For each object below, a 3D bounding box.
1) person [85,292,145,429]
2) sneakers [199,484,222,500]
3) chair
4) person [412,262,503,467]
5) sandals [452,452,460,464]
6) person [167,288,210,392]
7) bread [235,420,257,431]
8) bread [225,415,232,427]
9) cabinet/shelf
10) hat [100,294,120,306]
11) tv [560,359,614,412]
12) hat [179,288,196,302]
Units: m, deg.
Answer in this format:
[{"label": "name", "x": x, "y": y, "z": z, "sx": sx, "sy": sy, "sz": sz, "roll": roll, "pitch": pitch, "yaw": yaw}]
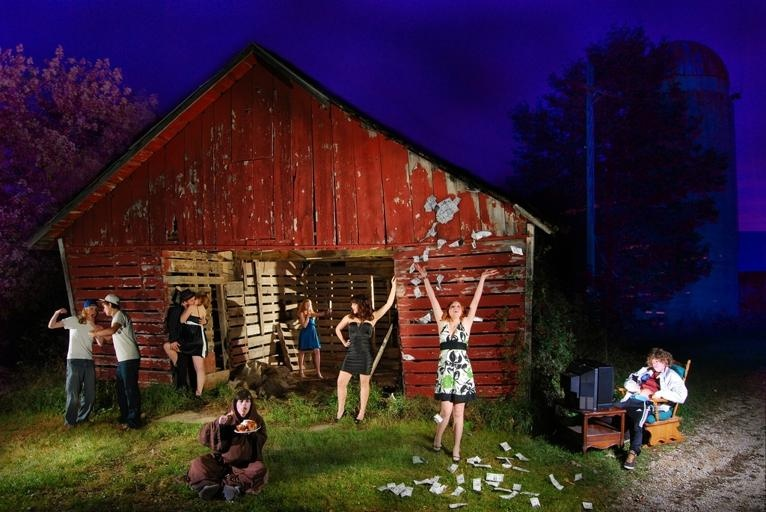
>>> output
[{"label": "person", "x": -6.676, "y": 2.674, "z": 14.644, "sx": 1.165, "sy": 3.379, "sz": 0.726, "roll": 5, "pitch": -9, "yaw": -34}, {"label": "sneakers", "x": -3.576, "y": 4.946, "z": 11.998, "sx": 0.461, "sy": 0.274, "sz": 0.190, "roll": -1, "pitch": 6, "yaw": 6}, {"label": "chair", "x": 6.944, "y": 3.713, "z": 14.295, "sx": 1.067, "sy": 1.672, "sz": 0.950, "roll": -8, "pitch": -4, "yaw": 13}, {"label": "person", "x": 1.638, "y": 2.564, "z": 13.138, "sx": 1.269, "sy": 4.251, "sz": 0.849, "roll": -2, "pitch": -8, "yaw": 12}, {"label": "sandals", "x": 1.713, "y": 4.604, "z": 13.134, "sx": 0.234, "sy": 0.245, "sz": 0.116, "roll": 5, "pitch": -9, "yaw": -33}, {"label": "person", "x": -5.605, "y": 2.517, "z": 16.562, "sx": 0.881, "sy": 3.033, "sz": 1.024, "roll": 5, "pitch": -9, "yaw": -36}, {"label": "bread", "x": -2.828, "y": 3.553, "z": 11.935, "sx": 0.272, "sy": 0.128, "sz": 0.266, "roll": 2, "pitch": 0, "yaw": -39}, {"label": "bread", "x": -3.225, "y": 3.422, "z": 12.011, "sx": 0.134, "sy": 0.204, "sz": 0.088, "roll": 3, "pitch": -8, "yaw": -18}, {"label": "cabinet/shelf", "x": 5.085, "y": 4.122, "z": 14.026, "sx": 0.978, "sy": 0.865, "sz": 1.547, "roll": -1, "pitch": -5, "yaw": -4}, {"label": "hat", "x": -7.369, "y": 1.180, "z": 15.536, "sx": 0.531, "sy": 0.291, "sz": 0.379, "roll": 8, "pitch": -2, "yaw": -10}, {"label": "tv", "x": 4.812, "y": 3.032, "z": 13.658, "sx": 1.058, "sy": 1.078, "sz": 1.064, "roll": 1, "pitch": -3, "yaw": -9}, {"label": "hat", "x": -5.616, "y": 1.119, "z": 16.567, "sx": 0.294, "sy": 0.380, "sz": 0.349, "roll": 18, "pitch": -42, "yaw": 26}]
